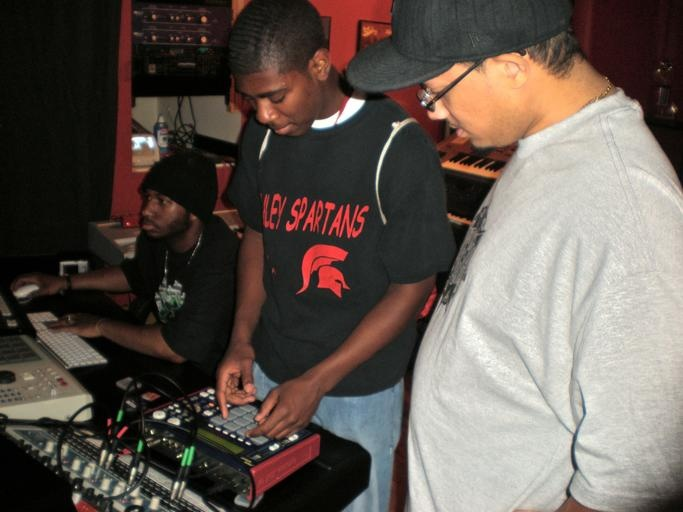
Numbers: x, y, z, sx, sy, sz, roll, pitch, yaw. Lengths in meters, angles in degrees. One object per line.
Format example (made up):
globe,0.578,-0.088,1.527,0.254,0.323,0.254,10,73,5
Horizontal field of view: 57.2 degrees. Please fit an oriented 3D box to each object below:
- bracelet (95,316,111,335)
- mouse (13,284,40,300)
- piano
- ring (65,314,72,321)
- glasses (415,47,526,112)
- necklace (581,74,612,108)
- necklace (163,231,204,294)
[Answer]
bracelet,-0.840,0.244,2.200,0.038,0.056,0.020,-3,-10,16
mouse,-1.250,0.138,2.477,0.064,0.019,0.062,-20,38,-22
piano,0.709,-0.438,3.535,0.703,0.212,0.499,-23,33,-33
ring,-0.993,0.222,2.287,0.022,0.005,0.021,5,15,-1
glasses,0.226,-0.327,1.228,0.119,0.033,0.115,-35,22,7
necklace,0.507,-0.311,1.218,0.017,0.064,0.051,28,44,-9
necklace,-0.577,0.022,2.369,0.132,0.244,0.093,12,-5,25
